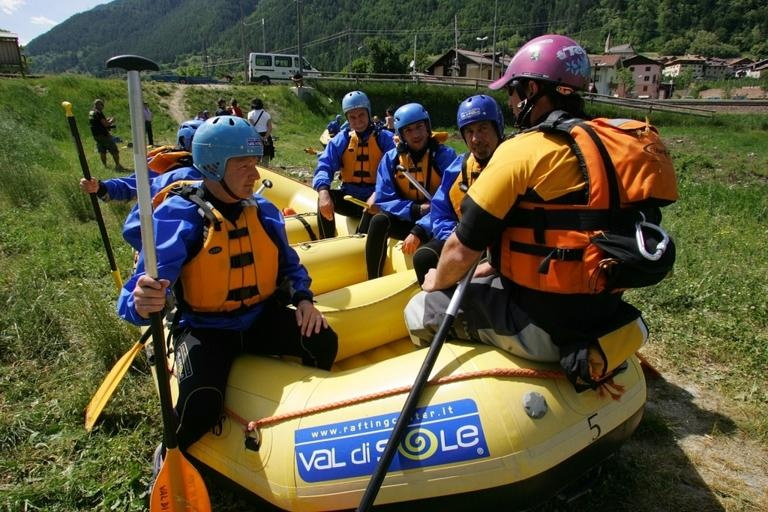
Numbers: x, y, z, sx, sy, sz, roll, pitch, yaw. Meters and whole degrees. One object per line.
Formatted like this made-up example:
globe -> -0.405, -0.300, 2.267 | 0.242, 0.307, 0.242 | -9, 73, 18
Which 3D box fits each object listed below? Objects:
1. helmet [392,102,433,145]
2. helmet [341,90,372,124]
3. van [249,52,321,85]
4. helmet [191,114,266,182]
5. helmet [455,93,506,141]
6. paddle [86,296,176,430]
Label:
helmet -> 0.293, -1.421, 6.370 | 0.368, 0.435, 0.485 | -14, 7, 1
helmet -> -0.332, -1.742, 7.076 | 0.256, 0.353, 0.316 | -1, 33, 0
van -> -5.243, -9.500, 30.330 | 2.802, 1.503, 3.918 | -14, 28, -33
helmet -> -1.219, -0.840, 4.573 | 0.535, 0.469, 0.452 | 12, 20, 26
helmet -> 0.889, -1.280, 5.337 | 0.331, 0.412, 0.460 | 1, 37, 21
paddle -> -2.040, 0.895, 4.808 | 0.195, 0.169, 1.485 | 2, 45, 16
